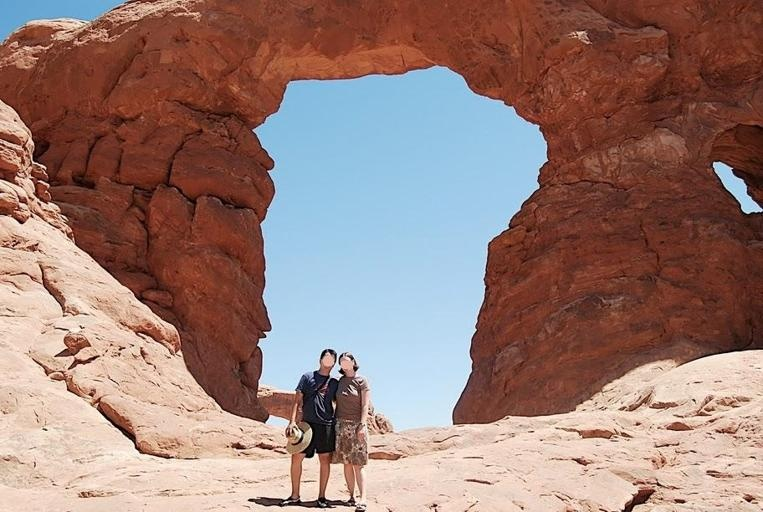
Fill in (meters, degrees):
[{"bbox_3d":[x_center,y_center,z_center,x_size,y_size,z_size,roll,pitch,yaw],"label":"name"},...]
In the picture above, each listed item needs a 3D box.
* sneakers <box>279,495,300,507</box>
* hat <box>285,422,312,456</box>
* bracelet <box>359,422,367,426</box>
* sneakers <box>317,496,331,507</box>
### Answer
[{"bbox_3d":[-1.898,5.136,20.922,0.449,0.167,0.157,6,-28,-5],"label":"sneakers"},{"bbox_3d":[-1.699,3.842,20.995,0.627,0.597,0.187,-25,-44,26],"label":"hat"},{"bbox_3d":[-0.373,3.549,21.095,0.165,0.048,0.155,-2,-1,1],"label":"bracelet"},{"bbox_3d":[-1.150,5.161,20.925,0.259,0.227,0.223,20,-31,-35],"label":"sneakers"}]
